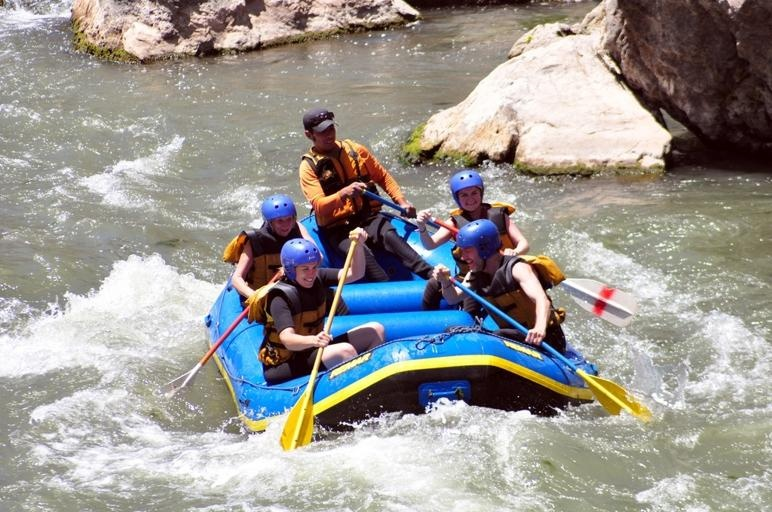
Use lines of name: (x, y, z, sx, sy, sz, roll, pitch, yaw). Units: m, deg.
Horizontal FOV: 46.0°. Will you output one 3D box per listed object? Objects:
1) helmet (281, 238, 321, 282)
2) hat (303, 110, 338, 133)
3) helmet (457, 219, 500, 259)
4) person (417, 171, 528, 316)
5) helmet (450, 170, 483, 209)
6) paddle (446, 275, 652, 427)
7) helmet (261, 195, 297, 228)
helmet: (-0.937, 0.046, 9.524, 0.456, 0.359, 0.360, -5, 12, 18)
hat: (-0.832, -1.664, 11.260, 0.377, 0.255, 0.314, -6, 20, -2)
helmet: (0.987, -0.188, 9.746, 0.469, 0.350, 0.342, -22, 12, 8)
person: (1.020, -0.091, 10.716, 1.224, 1.000, 1.672, -29, 48, 35)
helmet: (0.917, -0.783, 10.736, 0.344, 0.375, 0.420, -14, 10, -8)
paddle: (1.694, 1.062, 9.743, 2.349, 0.265, 0.209, 35, 29, 4)
helmet: (-1.294, -0.523, 10.572, 0.282, 0.283, 0.366, 17, -42, -41)
